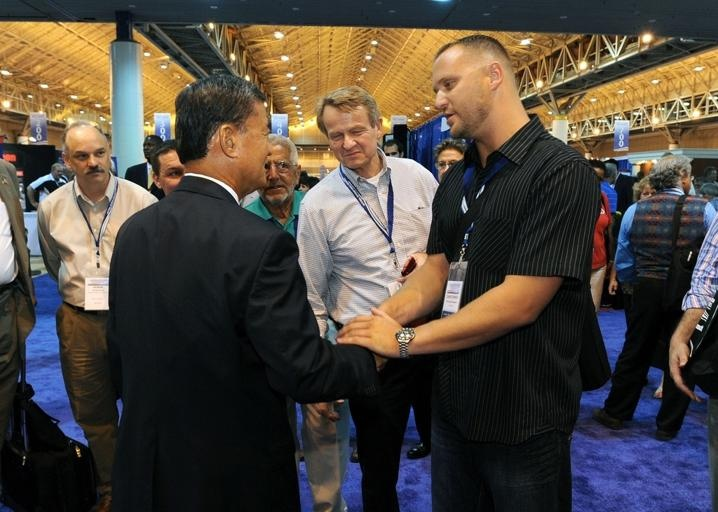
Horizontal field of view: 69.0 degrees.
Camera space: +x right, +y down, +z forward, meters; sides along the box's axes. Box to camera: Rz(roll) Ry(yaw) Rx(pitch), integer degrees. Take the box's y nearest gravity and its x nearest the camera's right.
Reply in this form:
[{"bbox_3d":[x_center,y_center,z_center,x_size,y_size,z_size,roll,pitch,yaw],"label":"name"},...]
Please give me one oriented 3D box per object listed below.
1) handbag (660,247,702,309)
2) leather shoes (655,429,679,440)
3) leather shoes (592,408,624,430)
[{"bbox_3d":[2.127,0.130,3.448,0.132,0.452,0.575,4,10,23],"label":"handbag"},{"bbox_3d":[2.196,1.261,3.715,0.152,0.066,0.061,12,-33,-25],"label":"leather shoes"},{"bbox_3d":[1.892,1.229,4.008,0.091,0.108,0.250,-6,16,-24],"label":"leather shoes"}]
